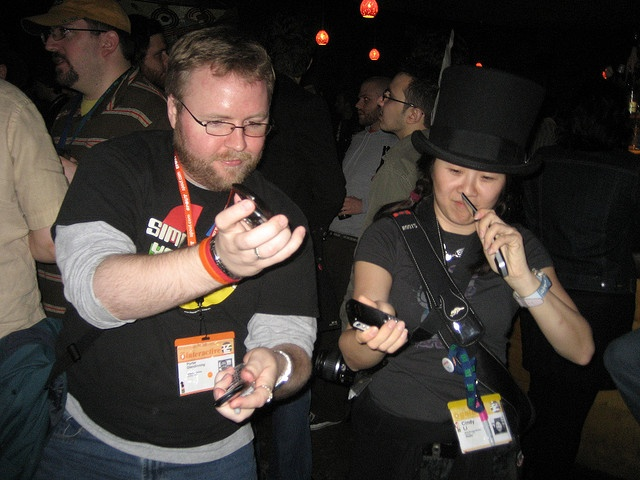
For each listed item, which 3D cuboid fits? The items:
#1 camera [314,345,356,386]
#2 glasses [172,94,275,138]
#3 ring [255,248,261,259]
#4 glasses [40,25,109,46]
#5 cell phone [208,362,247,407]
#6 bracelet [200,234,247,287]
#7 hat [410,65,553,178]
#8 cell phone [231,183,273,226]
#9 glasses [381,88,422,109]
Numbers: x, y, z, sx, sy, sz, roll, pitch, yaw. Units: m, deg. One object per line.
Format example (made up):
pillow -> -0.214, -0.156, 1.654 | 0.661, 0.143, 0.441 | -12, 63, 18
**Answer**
camera -> 0.091, 0.727, 2.896 | 0.245, 0.168, 0.172 | 21, 4, 14
glasses -> -0.458, -0.565, 2.279 | 0.403, 0.139, 0.146 | 0, 24, -10
ring -> -0.232, 0.047, 1.796 | 0.024, 0.051, 0.020 | 0, 24, -9
glasses -> -1.681, -1.387, 3.257 | 0.199, 0.052, 0.188 | -4, 9, -44
cell phone -> -0.350, 0.590, 2.056 | 0.066, 0.081, 0.300 | -14, 8, 20
bracelet -> -0.405, 0.084, 1.894 | 0.177, 0.175, 0.075 | 20, 28, 32
hat -> 0.966, -0.732, 2.937 | 0.850, 0.494, 0.800 | 13, 15, 1
cell phone -> -0.265, -0.149, 1.862 | 0.176, 0.056, 0.138 | 43, 14, -3
glasses -> 0.641, -1.127, 3.886 | 0.211, 0.060, 0.201 | 11, 15, -19
